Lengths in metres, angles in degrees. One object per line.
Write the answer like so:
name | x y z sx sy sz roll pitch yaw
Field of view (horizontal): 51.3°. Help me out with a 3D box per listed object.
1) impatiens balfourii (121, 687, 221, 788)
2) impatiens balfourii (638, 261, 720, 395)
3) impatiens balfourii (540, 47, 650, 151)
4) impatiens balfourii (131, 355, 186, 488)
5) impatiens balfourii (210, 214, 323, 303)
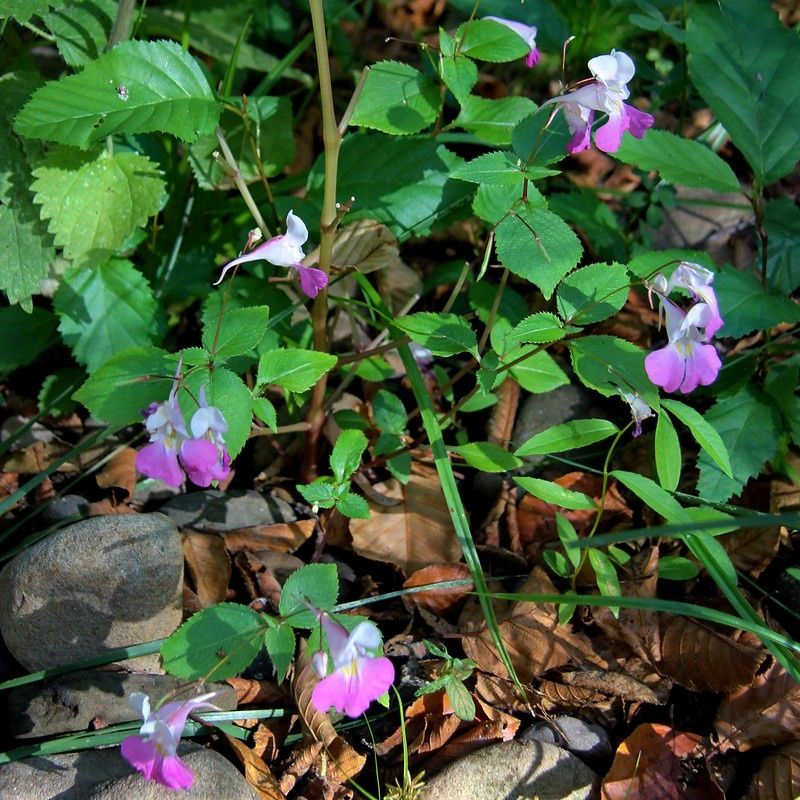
impatiens balfourii | -0.483 0.716 1.720 0.176 0.194 0.148 0 39 -11
impatiens balfourii | 0.627 -0.159 2.004 0.274 0.284 0.117 -9 2 -13
impatiens balfourii | 0.486 -0.694 2.000 0.272 0.176 0.242 25 60 33
impatiens balfourii | -0.521 0.058 1.868 0.125 0.288 0.103 16 14 3
impatiens balfourii | -0.306 -0.348 1.964 0.282 0.077 0.201 9 72 -24
